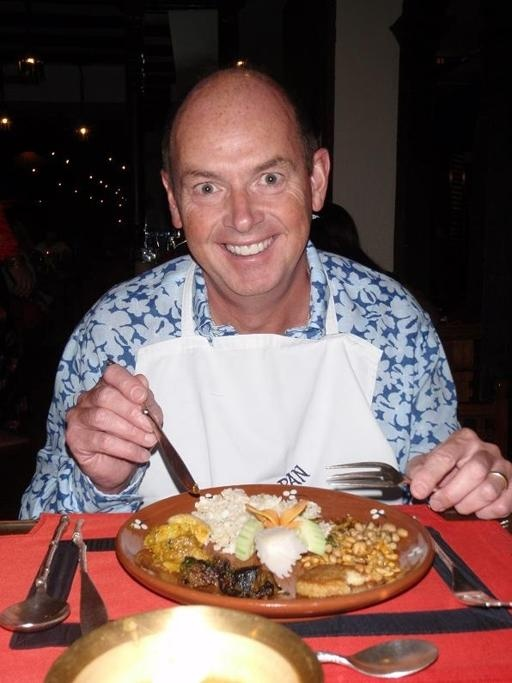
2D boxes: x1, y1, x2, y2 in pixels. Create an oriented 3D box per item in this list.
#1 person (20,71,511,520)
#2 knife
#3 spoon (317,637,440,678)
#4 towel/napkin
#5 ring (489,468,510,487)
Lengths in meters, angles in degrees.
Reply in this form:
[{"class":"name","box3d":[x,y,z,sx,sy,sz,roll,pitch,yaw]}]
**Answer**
[{"class":"person","box3d":[-0.018,-0.146,1.789,1.298,1.262,0.723,-1,10,-23]},{"class":"knife","box3d":[-0.252,0.219,1.457,0.056,0.462,0.066,-34,-31,5]},{"class":"spoon","box3d":[0.159,0.377,0.707,0.181,0.023,0.056,10,17,-22]},{"class":"towel/napkin","box3d":[0.017,0.213,1.699,0.715,0.492,0.181,-2,-14,-6]},{"class":"ring","box3d":[0.494,0.273,1.218,0.035,0.009,0.036,34,-2,1]}]
